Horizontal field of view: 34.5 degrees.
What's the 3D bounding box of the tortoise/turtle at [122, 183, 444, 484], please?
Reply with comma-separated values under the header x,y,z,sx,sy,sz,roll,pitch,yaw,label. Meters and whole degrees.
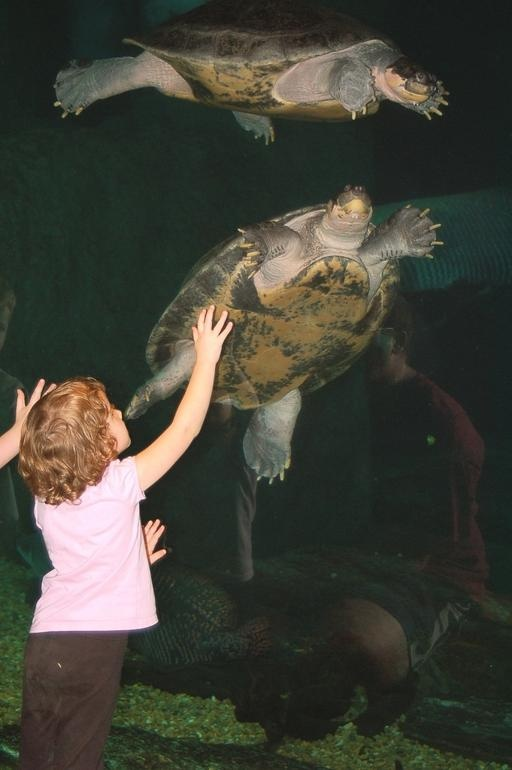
x,y,z,sx,sy,sz,roll,pitch,yaw,label
0.018,-0.180,2.489,0.696,0.977,0.297,28,25,-21,tortoise/turtle
